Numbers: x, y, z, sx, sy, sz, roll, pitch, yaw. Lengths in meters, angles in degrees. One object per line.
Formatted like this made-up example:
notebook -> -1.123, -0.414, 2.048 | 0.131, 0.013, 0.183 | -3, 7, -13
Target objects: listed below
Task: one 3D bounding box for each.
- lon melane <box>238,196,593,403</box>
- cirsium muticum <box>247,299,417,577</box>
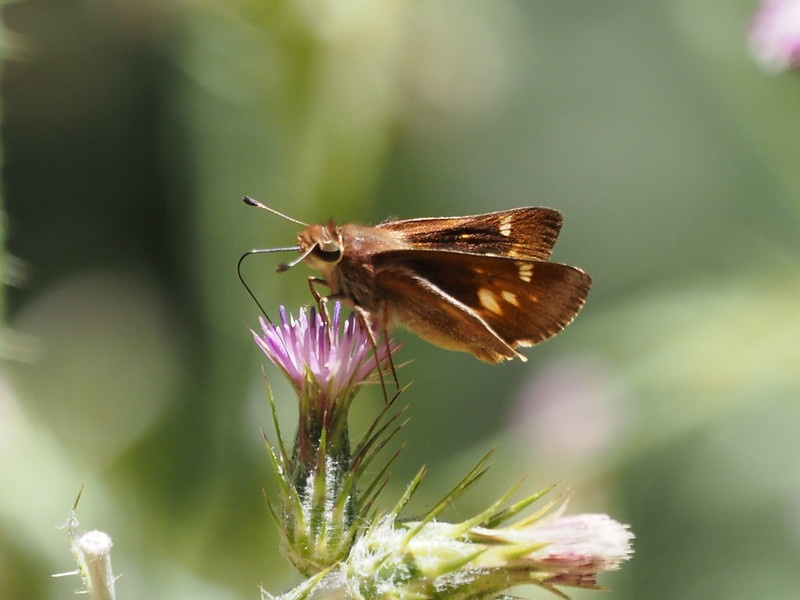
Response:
lon melane -> -0.018, -0.042, 3.496 | 1.231, 0.604, 0.698 | 12, 12, -8
cirsium muticum -> -0.287, 0.499, 3.350 | 0.575, 0.990, 0.563 | 3, -4, -35
